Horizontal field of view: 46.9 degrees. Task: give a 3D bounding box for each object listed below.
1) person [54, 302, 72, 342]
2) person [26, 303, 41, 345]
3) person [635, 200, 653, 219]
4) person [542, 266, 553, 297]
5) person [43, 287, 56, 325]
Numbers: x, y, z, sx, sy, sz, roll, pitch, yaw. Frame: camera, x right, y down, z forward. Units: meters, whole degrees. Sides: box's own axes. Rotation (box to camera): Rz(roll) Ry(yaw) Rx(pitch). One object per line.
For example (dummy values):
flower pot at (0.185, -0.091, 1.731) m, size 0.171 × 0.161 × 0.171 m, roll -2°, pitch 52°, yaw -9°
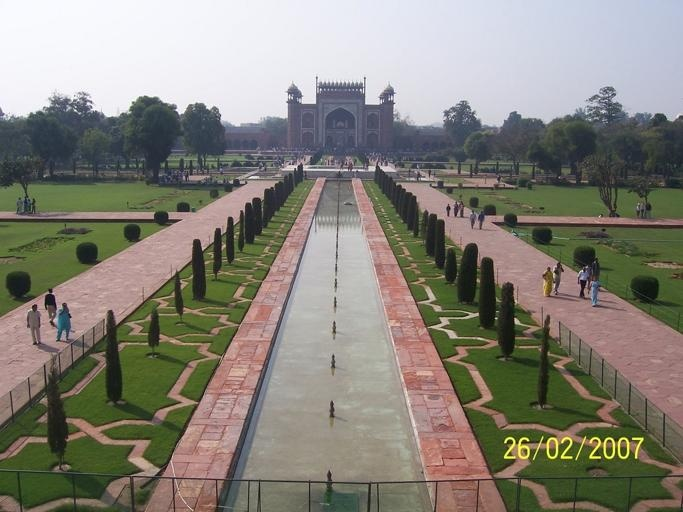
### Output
person at (-6.812, 1.578, 19.104) m, size 0.348 × 0.907 × 0.537 m, roll -3°, pitch 10°, yaw -19°
person at (-7.432, 1.613, 18.903) m, size 0.278 × 0.924 × 0.632 m, roll -3°, pitch 10°, yaw -22°
person at (15.013, -2.200, 38.884) m, size 0.612 × 0.736 × 1.559 m, roll 5°, pitch 10°, yaw 24°
person at (6.077, 0.776, 23.024) m, size 0.280 × 0.801 × 0.557 m, roll 3°, pitch 10°, yaw 14°
person at (-7.477, 1.269, 20.119) m, size 0.262 × 0.932 × 0.709 m, roll -3°, pitch 10°, yaw -20°
